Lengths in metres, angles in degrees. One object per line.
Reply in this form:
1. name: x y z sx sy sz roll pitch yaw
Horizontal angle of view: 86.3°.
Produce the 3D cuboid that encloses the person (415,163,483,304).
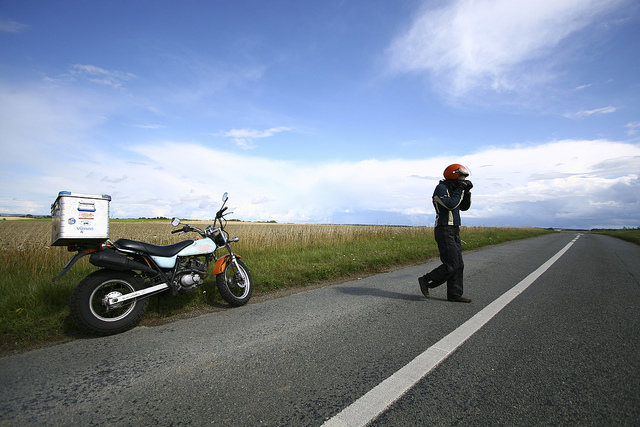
1. person: 2.626 0.378 6.976 0.932 2.695 1.195 4 11 24
